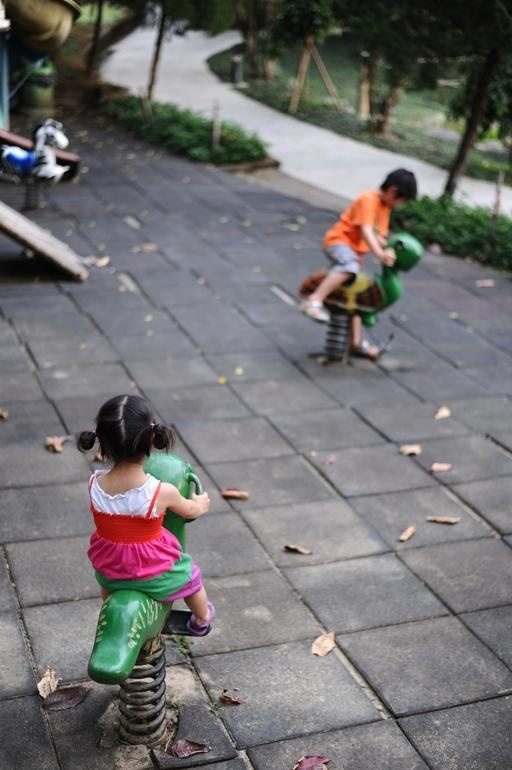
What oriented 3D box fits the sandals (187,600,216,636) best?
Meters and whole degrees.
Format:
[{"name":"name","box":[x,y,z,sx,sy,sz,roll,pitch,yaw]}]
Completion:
[{"name":"sandals","box":[-0.188,0.804,2.415,0.076,0.053,0.142,8,45,4]}]

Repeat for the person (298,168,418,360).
[{"name":"person","box":[0.814,-0.956,5.669,0.670,1.576,0.549,16,22,18]}]

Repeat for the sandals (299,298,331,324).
[{"name":"sandals","box":[0.507,-0.591,5.787,0.250,0.114,0.143,27,22,-16]}]

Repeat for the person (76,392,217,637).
[{"name":"person","box":[-0.334,0.441,2.148,0.338,0.905,0.367,18,23,21]}]
